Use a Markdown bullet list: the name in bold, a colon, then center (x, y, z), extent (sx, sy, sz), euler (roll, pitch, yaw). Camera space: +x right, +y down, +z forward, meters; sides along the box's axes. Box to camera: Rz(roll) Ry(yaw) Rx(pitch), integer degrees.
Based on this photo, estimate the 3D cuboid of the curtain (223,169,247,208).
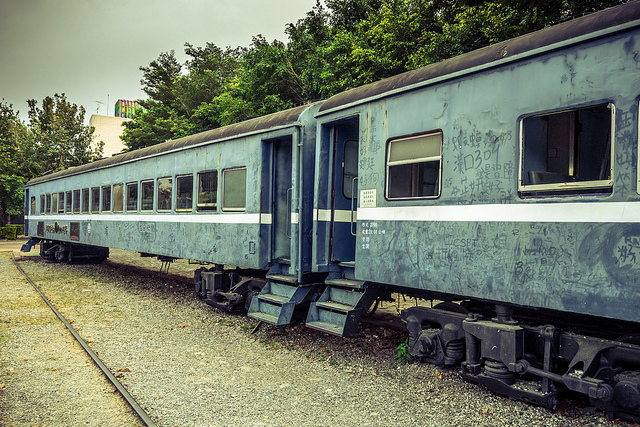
- **curtain**: center (-1.779, -0.534, 10.488), extent (0.069, 0.850, 0.785), euler (7, -8, -44)
